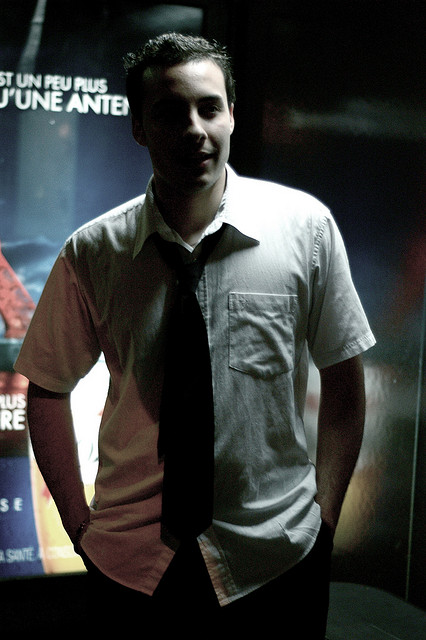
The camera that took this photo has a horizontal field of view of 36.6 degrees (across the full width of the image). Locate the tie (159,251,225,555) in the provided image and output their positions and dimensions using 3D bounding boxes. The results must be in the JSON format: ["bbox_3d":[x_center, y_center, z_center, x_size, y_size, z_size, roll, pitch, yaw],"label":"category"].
[{"bbox_3d":[-0.050,0.158,1.298,0.101,0.534,0.282,0,16,-7],"label":"tie"}]

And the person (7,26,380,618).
[{"bbox_3d":[-0.064,0.008,1.346,0.772,1.141,0.490,7,16,15],"label":"person"}]
